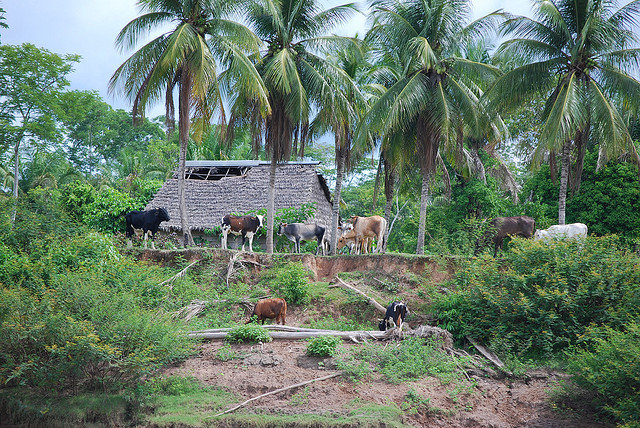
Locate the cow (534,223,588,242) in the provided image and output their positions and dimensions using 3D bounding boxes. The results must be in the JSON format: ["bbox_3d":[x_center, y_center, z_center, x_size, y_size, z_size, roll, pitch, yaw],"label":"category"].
[{"bbox_3d":[9.505,0.736,22.817,1.612,0.967,0.463,0,-16,7],"label":"cow"}]

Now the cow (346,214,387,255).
[{"bbox_3d":[2.018,0.865,25.729,2.227,1.727,0.645,-5,-7,38],"label":"cow"}]

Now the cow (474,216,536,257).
[{"bbox_3d":[7.653,0.911,24.049,2.474,1.555,0.732,-6,10,-4],"label":"cow"}]

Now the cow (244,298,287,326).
[{"bbox_3d":[-1.919,3.608,21.162,1.861,1.091,0.523,-8,-7,35],"label":"cow"}]

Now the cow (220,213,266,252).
[{"bbox_3d":[-3.466,0.782,26.320,1.715,1.709,1.790,0,-5,28],"label":"cow"}]

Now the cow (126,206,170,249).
[{"bbox_3d":[-7.522,0.624,25.398,2.181,1.720,0.781,-1,0,15],"label":"cow"}]
